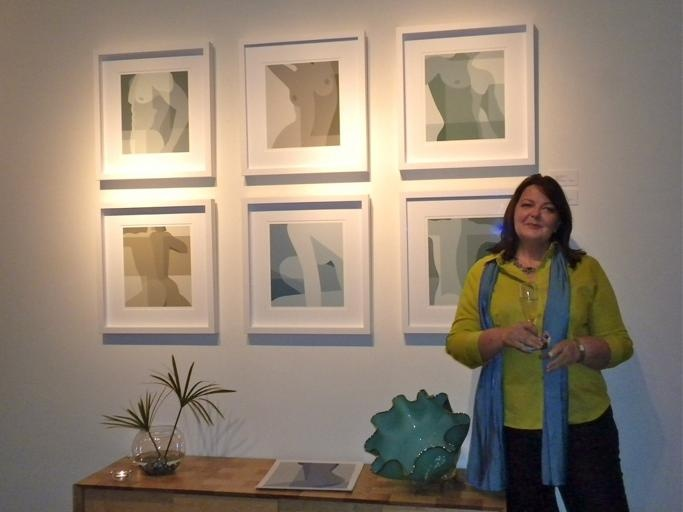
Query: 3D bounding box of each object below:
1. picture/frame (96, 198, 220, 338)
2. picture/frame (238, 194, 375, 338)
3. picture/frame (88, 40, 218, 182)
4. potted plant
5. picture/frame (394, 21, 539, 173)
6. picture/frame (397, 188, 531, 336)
[{"bbox_3d":[-0.870,0.044,2.949,0.606,0.734,0.049,0,2,2],"label":"picture/frame"},{"bbox_3d":[-0.135,0.038,2.864,0.613,0.725,0.050,0,1,9],"label":"picture/frame"},{"bbox_3d":[-0.890,-0.710,2.945,0.613,0.644,0.066,1,3,11],"label":"picture/frame"},{"bbox_3d":[-0.805,0.749,2.818,0.593,0.570,0.496,-7,-20,12],"label":"potted plant"},{"bbox_3d":[0.605,-0.735,2.770,0.624,0.675,0.051,-1,-1,5],"label":"picture/frame"},{"bbox_3d":[0.560,0.013,2.652,0.581,0.785,0.053,2,5,10],"label":"picture/frame"}]
